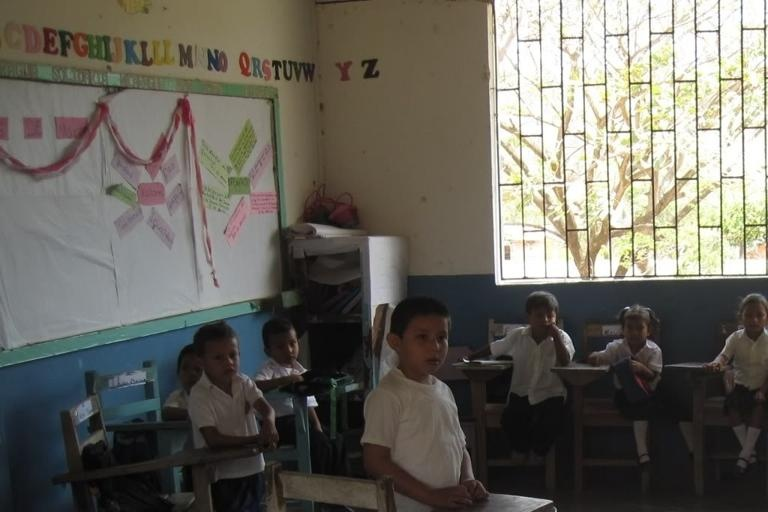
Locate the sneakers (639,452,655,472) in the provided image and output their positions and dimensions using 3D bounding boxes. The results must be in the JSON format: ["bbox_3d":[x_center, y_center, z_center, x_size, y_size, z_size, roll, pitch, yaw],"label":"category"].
[{"bbox_3d":[2.002,1.590,5.106,0.096,0.153,0.155,1,-15,-8],"label":"sneakers"}]

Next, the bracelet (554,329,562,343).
[{"bbox_3d":[1.406,0.655,5.384,0.066,0.092,0.087,5,0,29],"label":"bracelet"}]

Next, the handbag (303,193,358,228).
[{"bbox_3d":[-0.505,-0.412,6.177,0.444,0.418,0.311,-11,6,-8],"label":"handbag"}]
